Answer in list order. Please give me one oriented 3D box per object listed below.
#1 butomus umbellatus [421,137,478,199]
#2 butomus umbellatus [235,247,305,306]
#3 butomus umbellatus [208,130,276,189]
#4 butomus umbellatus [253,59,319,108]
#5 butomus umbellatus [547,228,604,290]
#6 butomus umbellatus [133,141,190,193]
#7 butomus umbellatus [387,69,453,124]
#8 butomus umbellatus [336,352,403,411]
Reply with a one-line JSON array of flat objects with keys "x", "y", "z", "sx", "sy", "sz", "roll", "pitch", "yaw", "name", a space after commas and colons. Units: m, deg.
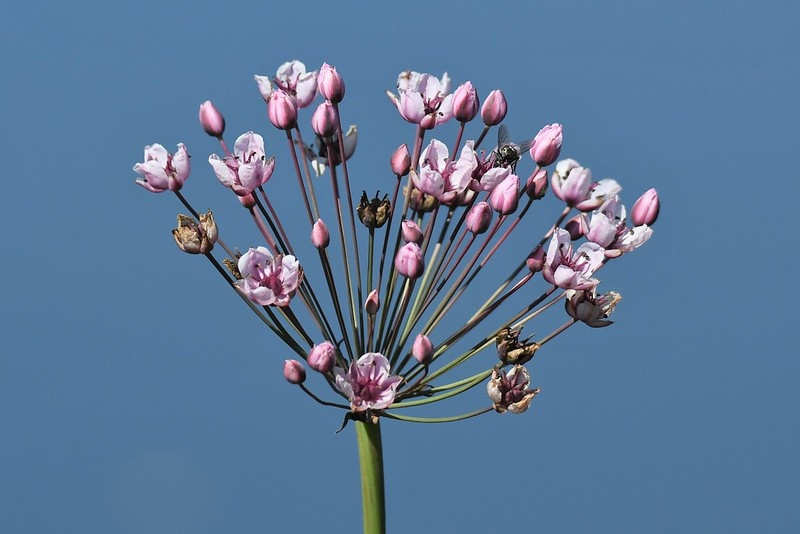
[{"x": 0.144, "y": -0.351, "z": 6.450, "sx": 0.244, "sy": 0.237, "sz": 0.219, "roll": 12, "pitch": 11, "yaw": -8, "name": "butomus umbellatus"}, {"x": -0.497, "y": 0.033, "z": 6.300, "sx": 0.245, "sy": 0.280, "sz": 0.193, "roll": -6, "pitch": 23, "yaw": -5, "name": "butomus umbellatus"}, {"x": -0.607, "y": -0.393, "z": 6.465, "sx": 0.213, "sy": 0.186, "sz": 0.291, "roll": 19, "pitch": 33, "yaw": 26, "name": "butomus umbellatus"}, {"x": -0.413, "y": -0.691, "z": 6.607, "sx": 0.179, "sy": 0.171, "sz": 0.235, "roll": -6, "pitch": -12, "yaw": 4, "name": "butomus umbellatus"}, {"x": 0.651, "y": -0.023, "z": 6.338, "sx": 0.219, "sy": 0.280, "sz": 0.307, "roll": 2, "pitch": 24, "yaw": 11, "name": "butomus umbellatus"}, {"x": -0.925, "y": -0.381, "z": 6.413, "sx": 0.189, "sy": 0.199, "sz": 0.129, "roll": 4, "pitch": 24, "yaw": 15, "name": "butomus umbellatus"}, {"x": 0.081, "y": -0.624, "z": 6.577, "sx": 0.177, "sy": 0.149, "sz": 0.238, "roll": 15, "pitch": -2, "yaw": -1, "name": "butomus umbellatus"}, {"x": -0.122, "y": 0.448, "z": 6.314, "sx": 0.180, "sy": 0.272, "sz": 0.151, "roll": -7, "pitch": -9, "yaw": -2, "name": "butomus umbellatus"}]
